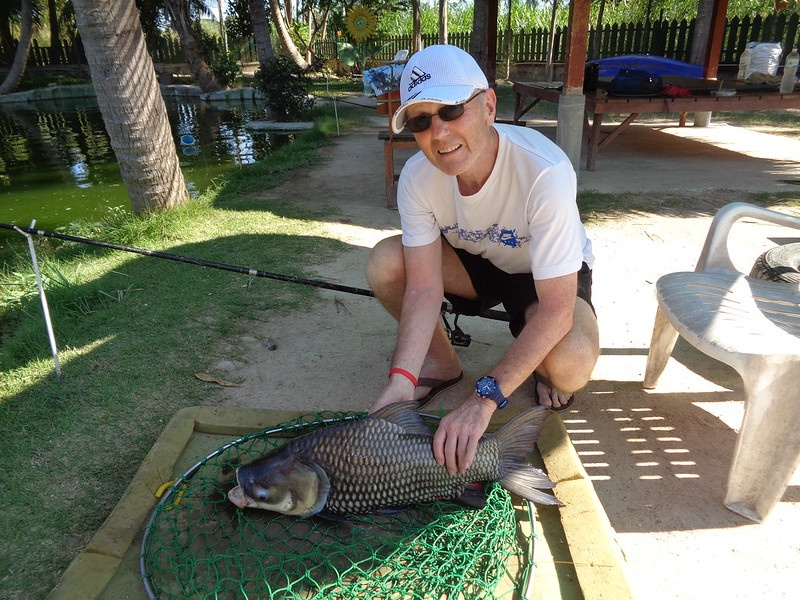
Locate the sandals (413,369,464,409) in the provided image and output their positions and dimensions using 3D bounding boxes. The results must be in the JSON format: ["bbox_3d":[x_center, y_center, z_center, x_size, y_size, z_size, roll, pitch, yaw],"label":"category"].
[{"bbox_3d":[0.221,0.496,3.426,0.285,0.084,0.110,-35,23,-13],"label":"sandals"}]

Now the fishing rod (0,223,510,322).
[{"bbox_3d":[-1.068,-0.171,4.197,3.792,0.192,0.100,11,43,-5],"label":"fishing rod"}]

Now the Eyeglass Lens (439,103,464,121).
[{"bbox_3d":[0.229,-0.828,2.634,0.120,0.069,0.028,-3,24,0],"label":"Eyeglass Lens"}]

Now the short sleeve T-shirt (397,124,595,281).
[{"bbox_3d":[0.478,-0.448,3.078,1.063,0.802,0.600,13,46,34],"label":"short sleeve T-shirt"}]

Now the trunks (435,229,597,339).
[{"bbox_3d":[0.560,-0.057,3.247,0.603,0.185,0.555,8,8,-44],"label":"trunks"}]

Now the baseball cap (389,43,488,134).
[{"bbox_3d":[0.171,-1.031,2.761,0.388,0.277,0.536,-9,16,30],"label":"baseball cap"}]
